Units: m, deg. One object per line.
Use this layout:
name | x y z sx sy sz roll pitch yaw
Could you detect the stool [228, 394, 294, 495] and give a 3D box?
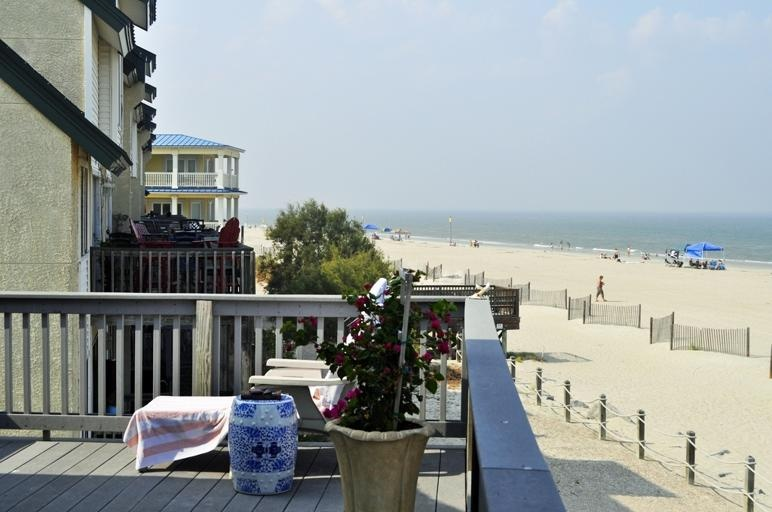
stool | -1.346 1.991 8.563 0.916 0.997 0.992 -1 0 -6
